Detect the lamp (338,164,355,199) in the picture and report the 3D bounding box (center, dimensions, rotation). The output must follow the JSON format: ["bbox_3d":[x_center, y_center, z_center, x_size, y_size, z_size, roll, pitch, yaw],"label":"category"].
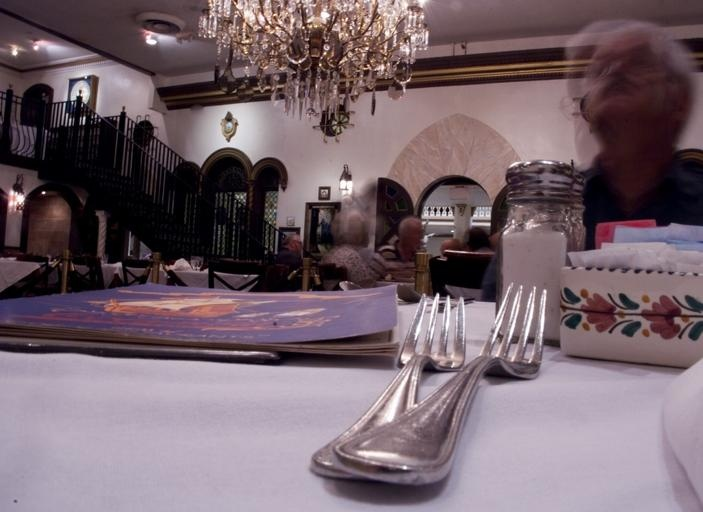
[{"bbox_3d":[-0.103,-1.386,9.202,0.259,0.662,0.153,1,8,-2],"label":"lamp"}]

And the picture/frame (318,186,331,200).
[{"bbox_3d":[-0.518,-1.204,9.378,0.243,0.284,0.022,3,6,13],"label":"picture/frame"}]
